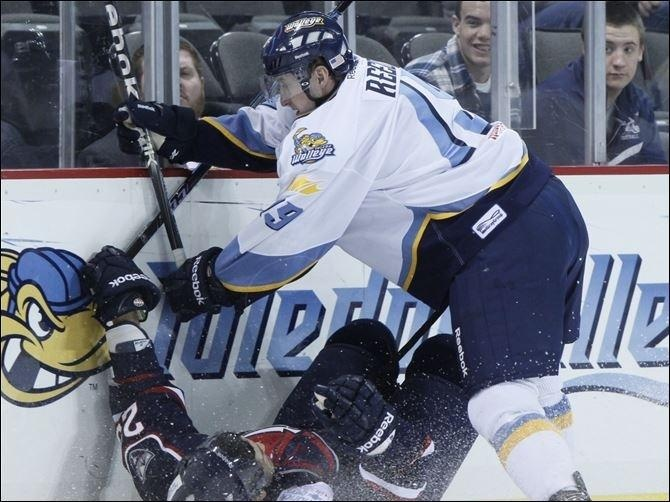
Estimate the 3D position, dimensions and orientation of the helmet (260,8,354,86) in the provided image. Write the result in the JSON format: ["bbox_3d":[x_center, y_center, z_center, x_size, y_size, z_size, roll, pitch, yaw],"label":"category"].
[{"bbox_3d":[-0.110,-0.820,3.906,0.254,0.366,0.260,6,10,-15],"label":"helmet"}]

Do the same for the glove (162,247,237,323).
[{"bbox_3d":[-0.585,0.187,4.160,0.282,0.251,0.318,-24,-15,-2],"label":"glove"}]

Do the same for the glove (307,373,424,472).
[{"bbox_3d":[0.148,0.675,3.861,0.484,0.294,0.155,29,2,-24],"label":"glove"}]
